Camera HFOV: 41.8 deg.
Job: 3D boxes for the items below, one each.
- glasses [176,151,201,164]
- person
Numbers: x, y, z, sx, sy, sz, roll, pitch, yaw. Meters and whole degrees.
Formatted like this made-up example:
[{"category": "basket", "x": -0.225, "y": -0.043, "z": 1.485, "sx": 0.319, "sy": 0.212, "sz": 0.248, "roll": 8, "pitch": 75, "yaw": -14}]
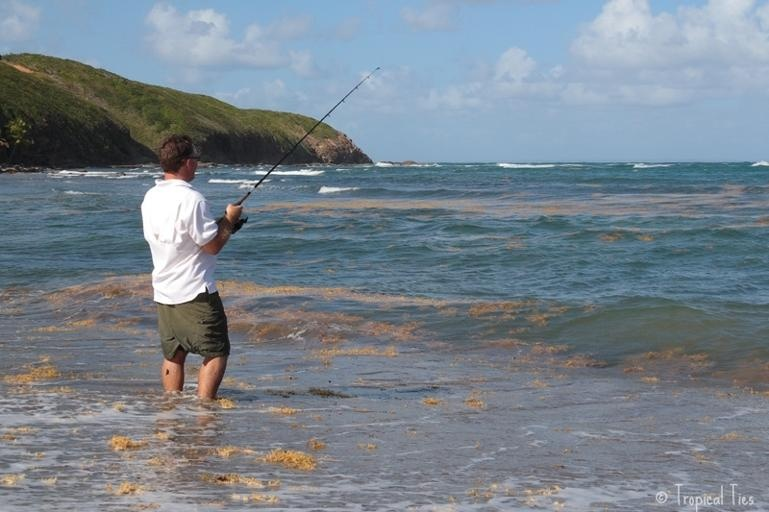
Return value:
[{"category": "glasses", "x": -2.695, "y": -1.318, "z": 13.551, "sx": 0.230, "sy": 0.054, "sz": 0.235, "roll": -11, "pitch": 3, "yaw": -42}, {"category": "person", "x": -2.704, "y": 0.471, "z": 13.685, "sx": 1.283, "sy": 3.031, "sz": 0.621, "roll": 6, "pitch": 17, "yaw": 0}]
